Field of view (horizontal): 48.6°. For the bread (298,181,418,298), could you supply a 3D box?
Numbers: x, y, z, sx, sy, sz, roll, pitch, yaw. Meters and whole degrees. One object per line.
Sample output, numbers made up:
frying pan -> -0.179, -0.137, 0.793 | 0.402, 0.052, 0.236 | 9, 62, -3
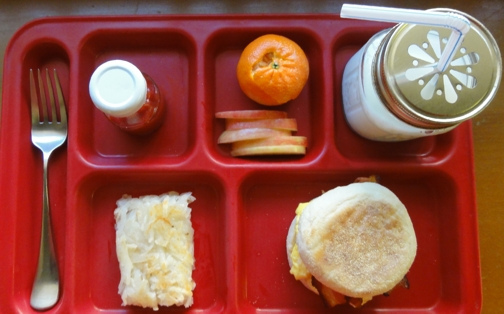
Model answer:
bread -> 0.415, 0.328, 2.217 | 0.463, 0.120, 0.429 | -16, 72, -5

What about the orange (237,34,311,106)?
orange -> 0.088, -0.363, 2.313 | 0.291, 0.117, 0.250 | 1, 71, 1

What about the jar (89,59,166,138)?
jar -> -0.509, -0.236, 2.320 | 0.271, 0.260, 0.218 | 1, 70, 2
